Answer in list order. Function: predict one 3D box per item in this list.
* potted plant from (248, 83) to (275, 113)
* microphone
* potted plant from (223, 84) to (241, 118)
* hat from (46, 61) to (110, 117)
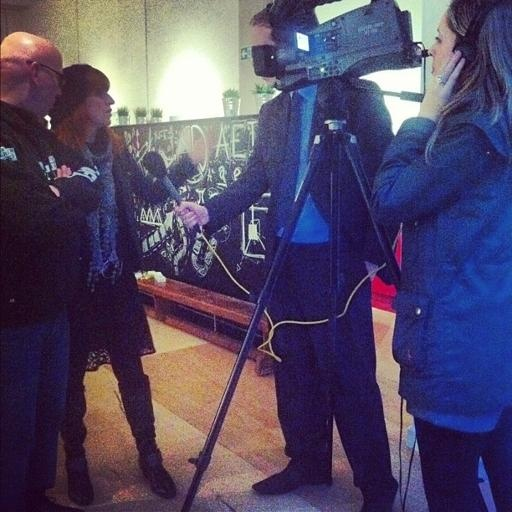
[{"bbox_3d":[0.012,-0.369,1.214,0.048,0.059,0.050,-3,11,-22],"label":"potted plant"},{"bbox_3d":[-0.206,-0.159,1.214,0.043,0.173,0.043,-34,21,-16],"label":"microphone"},{"bbox_3d":[-0.056,-0.354,1.195,0.044,0.066,0.051,-2,6,-5],"label":"potted plant"},{"bbox_3d":[-0.374,-0.352,1.089,0.106,0.121,0.080,-24,4,-26],"label":"hat"}]
